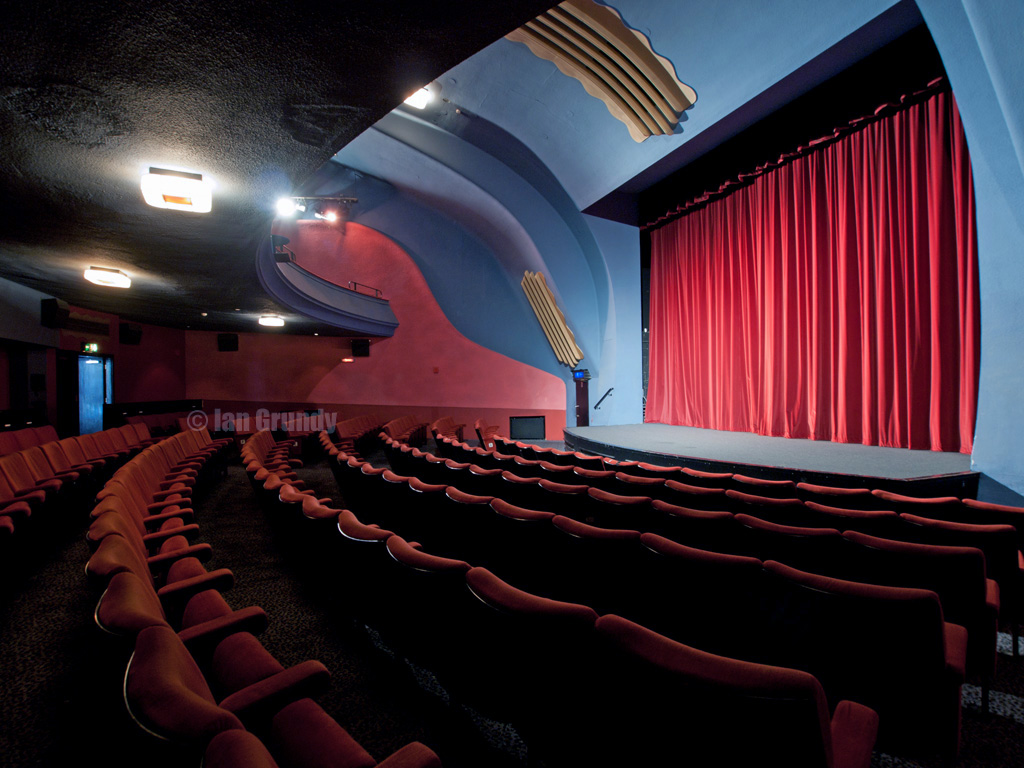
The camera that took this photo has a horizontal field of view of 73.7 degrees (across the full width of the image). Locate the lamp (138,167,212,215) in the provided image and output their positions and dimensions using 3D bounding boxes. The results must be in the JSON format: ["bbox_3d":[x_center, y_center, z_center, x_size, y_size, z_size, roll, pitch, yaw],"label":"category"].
[{"bbox_3d":[-2.500,-1.455,5.099,0.471,0.269,0.240,2,-4,-28],"label":"lamp"}]

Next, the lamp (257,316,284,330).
[{"bbox_3d":[-4.016,-1.008,11.372,0.403,0.102,1.473,2,-4,-21],"label":"lamp"}]
